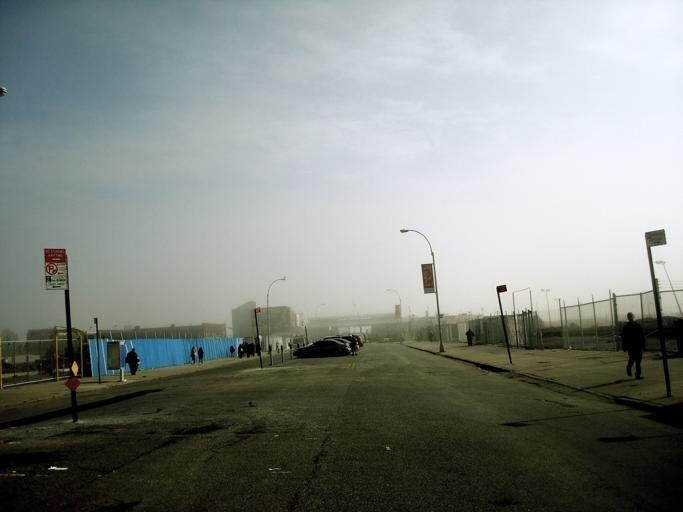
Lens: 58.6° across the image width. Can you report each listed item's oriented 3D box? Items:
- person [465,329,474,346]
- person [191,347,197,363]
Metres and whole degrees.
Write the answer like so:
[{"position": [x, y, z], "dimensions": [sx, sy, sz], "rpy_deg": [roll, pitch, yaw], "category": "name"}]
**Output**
[{"position": [11.334, 7.176, 53.634], "dimensions": [0.457, 1.510, 2.491], "rpy_deg": [-7, -9, 9], "category": "person"}, {"position": [-13.377, 9.021, 55.006], "dimensions": [0.483, 1.513, 2.561], "rpy_deg": [-4, -9, -15], "category": "person"}]
